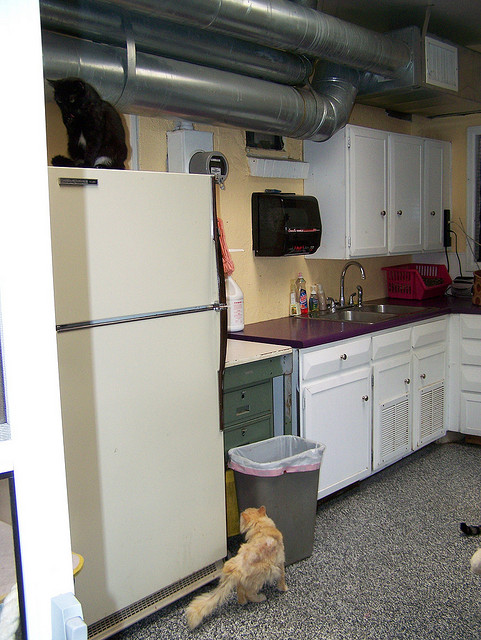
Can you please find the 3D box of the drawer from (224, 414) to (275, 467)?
[{"bbox_3d":[0.040,0.509,2.356,0.171,0.212,0.294,2,7,43],"label":"drawer"}]

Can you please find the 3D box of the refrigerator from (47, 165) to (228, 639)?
[{"bbox_3d":[-0.461,0.207,2.044,0.645,1.567,0.669,-6,8,-39],"label":"refrigerator"}]

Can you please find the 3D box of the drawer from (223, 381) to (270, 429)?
[{"bbox_3d":[0.026,0.373,2.333,0.148,0.163,0.266,3,7,40],"label":"drawer"}]

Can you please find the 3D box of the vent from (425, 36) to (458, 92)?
[{"bbox_3d":[1.262,-1.600,3.272,0.030,0.294,0.450,3,8,44],"label":"vent"}]

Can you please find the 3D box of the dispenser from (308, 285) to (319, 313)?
[{"bbox_3d":[0.500,-0.145,3.533,0.062,0.176,0.124,-1,6,9],"label":"dispenser"}]

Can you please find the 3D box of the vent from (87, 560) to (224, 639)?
[{"bbox_3d":[-0.309,1.019,1.886,0.110,0.070,0.661,15,20,42],"label":"vent"}]

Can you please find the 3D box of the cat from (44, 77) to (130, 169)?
[{"bbox_3d":[-0.508,-0.660,1.796,0.176,0.292,0.255,10,14,38],"label":"cat"}]

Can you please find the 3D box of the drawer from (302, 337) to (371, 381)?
[{"bbox_3d":[0.516,0.199,2.720,0.033,0.148,0.632,3,8,43],"label":"drawer"}]

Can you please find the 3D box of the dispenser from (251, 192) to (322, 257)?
[{"bbox_3d":[0.292,-0.570,3.217,0.236,0.416,0.438,8,13,42],"label":"dispenser"}]

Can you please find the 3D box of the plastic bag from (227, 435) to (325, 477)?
[{"bbox_3d":[0.151,0.589,2.307,0.250,0.106,0.193,-4,6,-43],"label":"plastic bag"}]

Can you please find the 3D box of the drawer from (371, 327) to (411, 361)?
[{"bbox_3d":[0.885,0.139,3.075,0.212,0.198,0.056,-8,12,-42],"label":"drawer"}]
